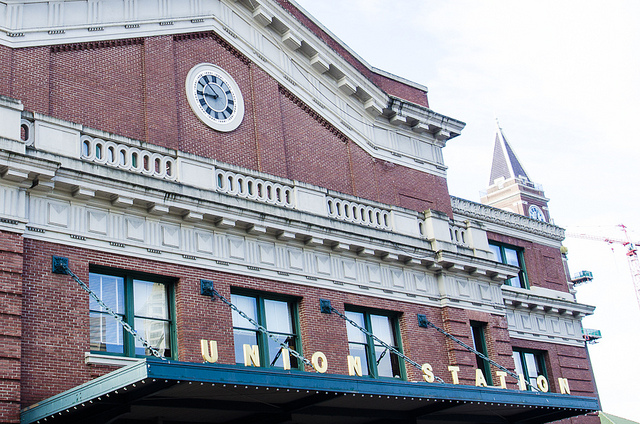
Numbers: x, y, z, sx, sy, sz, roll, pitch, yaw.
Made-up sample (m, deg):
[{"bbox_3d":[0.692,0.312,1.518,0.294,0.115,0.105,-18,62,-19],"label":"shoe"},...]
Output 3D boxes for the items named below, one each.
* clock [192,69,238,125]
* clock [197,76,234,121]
[{"bbox_3d":[-4.206,-4.442,36.665,2.269,2.070,0.222,16,-36,-41],"label":"clock"},{"bbox_3d":[-4.187,-4.405,36.669,1.878,1.710,0.212,12,-33,-44],"label":"clock"}]
